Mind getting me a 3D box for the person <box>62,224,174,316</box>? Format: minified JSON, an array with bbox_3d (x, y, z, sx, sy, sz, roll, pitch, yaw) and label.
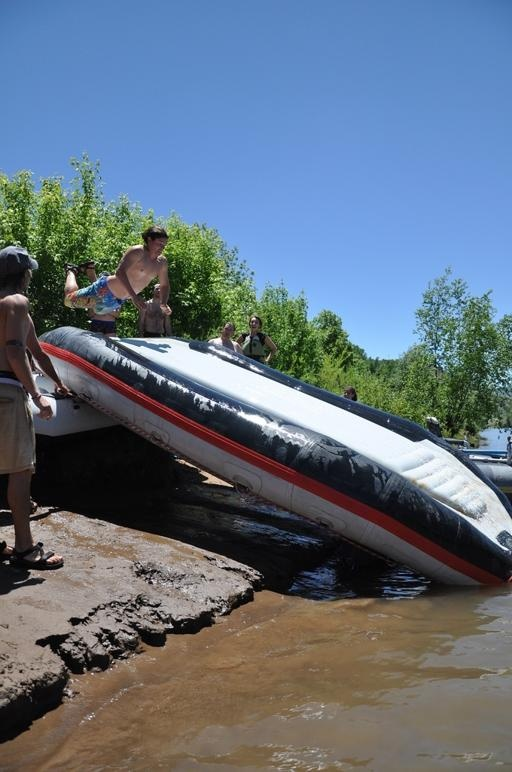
[{"bbox_3d":[-1.178,-1.125,6.811,1.266,0.855,0.830,4,4,44],"label":"person"}]
